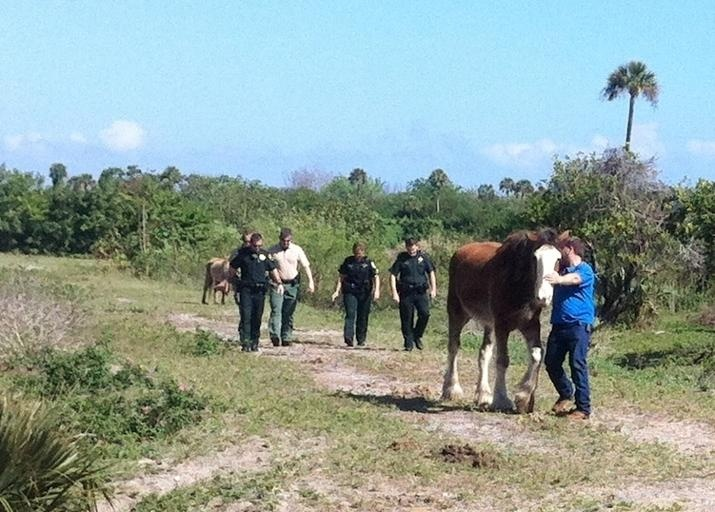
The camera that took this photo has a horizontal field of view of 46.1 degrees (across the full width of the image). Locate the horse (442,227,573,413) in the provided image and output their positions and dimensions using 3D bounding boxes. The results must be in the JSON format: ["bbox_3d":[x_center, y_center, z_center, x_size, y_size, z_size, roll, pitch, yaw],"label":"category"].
[{"bbox_3d":[2.544,1.262,15.041,1.085,3.257,4.466,2,-2,-11],"label":"horse"}]

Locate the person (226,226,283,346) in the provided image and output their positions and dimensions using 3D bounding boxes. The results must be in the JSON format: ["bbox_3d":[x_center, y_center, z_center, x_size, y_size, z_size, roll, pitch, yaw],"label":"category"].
[{"bbox_3d":[-2.181,0.734,17.874,1.035,2.558,0.850,2,9,-15],"label":"person"}]

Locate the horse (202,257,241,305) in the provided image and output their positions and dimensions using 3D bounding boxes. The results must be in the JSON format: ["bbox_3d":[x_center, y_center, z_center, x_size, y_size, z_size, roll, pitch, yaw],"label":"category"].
[{"bbox_3d":[-4.353,0.860,26.983,0.335,0.980,1.519,8,19,20],"label":"horse"}]

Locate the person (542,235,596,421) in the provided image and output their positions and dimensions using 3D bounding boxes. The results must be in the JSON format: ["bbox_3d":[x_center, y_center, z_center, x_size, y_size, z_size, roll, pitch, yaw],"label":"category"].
[{"bbox_3d":[3.587,1.167,14.008,0.784,3.019,0.746,6,9,14],"label":"person"}]
